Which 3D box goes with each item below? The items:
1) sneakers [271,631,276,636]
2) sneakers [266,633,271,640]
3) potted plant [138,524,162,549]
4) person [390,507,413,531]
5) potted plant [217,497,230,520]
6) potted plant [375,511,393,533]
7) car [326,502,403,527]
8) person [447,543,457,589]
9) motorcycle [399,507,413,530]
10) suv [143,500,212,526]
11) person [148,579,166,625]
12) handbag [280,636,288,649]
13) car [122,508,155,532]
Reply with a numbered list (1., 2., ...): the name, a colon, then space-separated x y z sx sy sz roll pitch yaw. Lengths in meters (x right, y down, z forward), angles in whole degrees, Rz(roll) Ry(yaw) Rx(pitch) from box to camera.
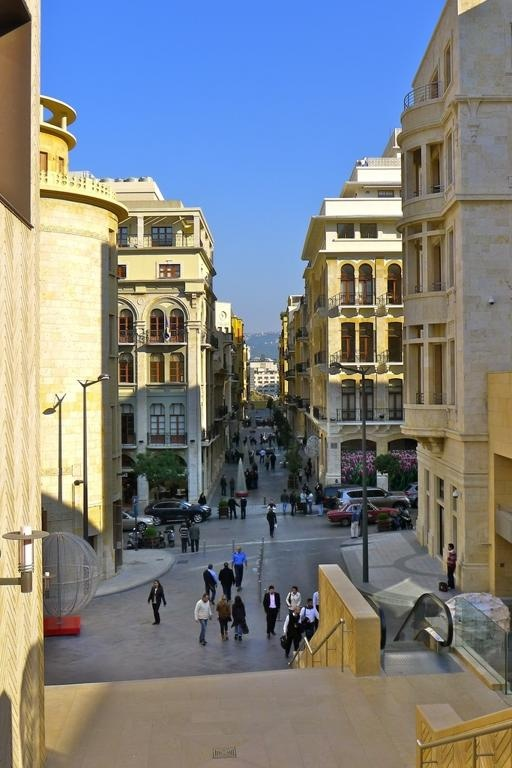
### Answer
1. sneakers: 0.431 5.954 19.836 0.065 0.148 0.140 4 -14 -32
2. sneakers: 0.301 5.955 19.616 0.081 0.202 0.200 0 -14 1
3. potted plant: -4.318 6.318 34.014 0.973 0.854 0.719 -5 -7 -13
4. person: 6.310 5.803 35.496 0.987 0.734 0.577 -11 -6 44
5. potted plant: -1.619 6.168 40.898 0.811 1.113 0.693 0 -2 -10
6. potted plant: 5.555 5.812 35.005 0.695 1.030 0.689 0 -3 -16
7. car: 4.681 5.768 36.883 2.640 0.957 1.359 -3 4 -7
8. person: 5.411 5.023 22.915 0.320 1.190 0.794 -7 -7 13
9. motorcycle: 6.470 5.746 35.732 0.557 0.840 3.550 -7 -7 9
10. suv: -3.862 6.212 40.363 2.895 1.163 1.348 -2 4 1
11. person: -2.632 5.673 21.856 0.390 1.129 1.824 -5 -8 -7
12. handbag: 0.589 5.473 17.591 0.095 0.304 0.366 -5 -8 -8
13. car: -5.496 6.285 38.028 2.056 0.794 0.984 -4 -2 10
